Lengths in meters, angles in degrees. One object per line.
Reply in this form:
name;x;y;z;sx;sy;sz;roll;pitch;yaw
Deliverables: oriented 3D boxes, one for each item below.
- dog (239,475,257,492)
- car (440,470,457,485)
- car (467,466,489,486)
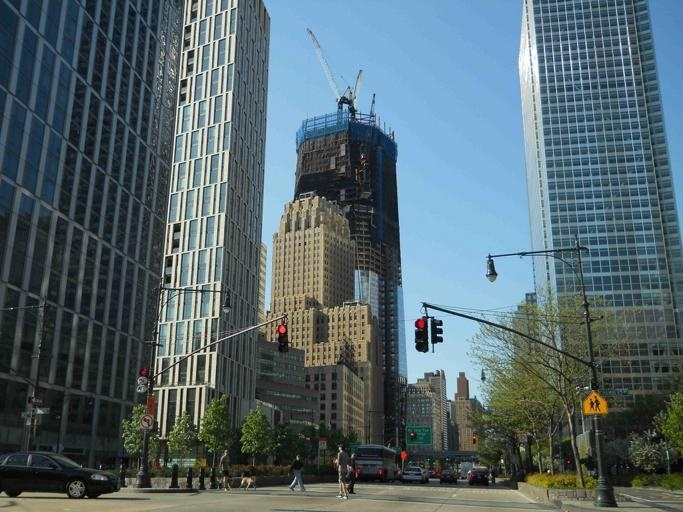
dog;-6.983;18.153;56.009;1.160;0.977;2.685;2;-20;-7
car;12.505;25.548;80.797;1.214;1.004;2.968;-1;-22;7
car;16.101;25.564;81.126;1.560;1.433;3.527;-1;-7;10
